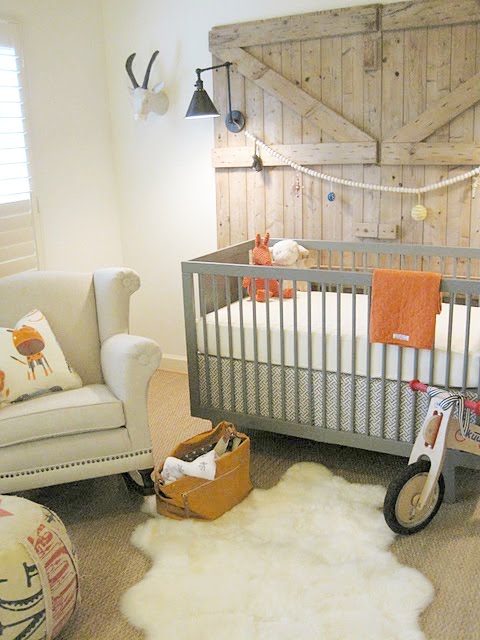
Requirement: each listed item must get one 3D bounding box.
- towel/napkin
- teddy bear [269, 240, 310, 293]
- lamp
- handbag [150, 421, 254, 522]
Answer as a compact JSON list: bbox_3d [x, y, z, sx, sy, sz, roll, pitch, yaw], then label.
[{"bbox_3d":[0.565,-0.043,1.812,0.269,0.270,0.086,9,14,29],"label":"towel/napkin"},{"bbox_3d":[0.241,-0.266,2.566,0.227,0.265,0.127,3,29,25],"label":"teddy bear"},{"bbox_3d":[-0.155,-1.188,2.869,0.356,0.377,0.189,-19,26,-32],"label":"lamp"},{"bbox_3d":[-0.128,0.565,1.953,0.382,0.232,0.234,-17,19,-35],"label":"handbag"}]
